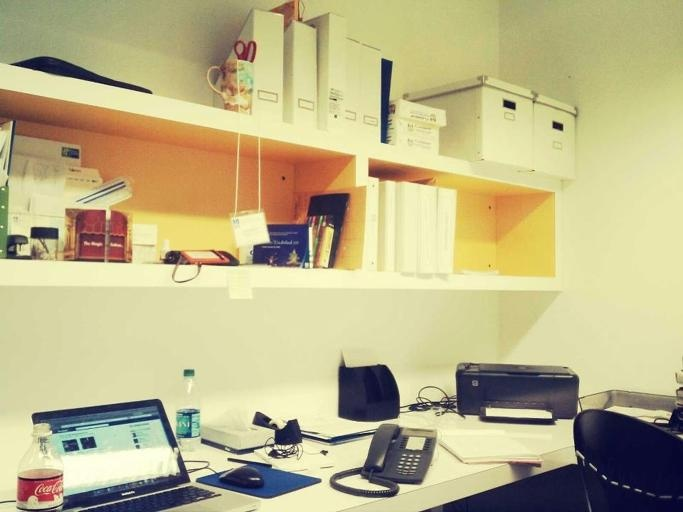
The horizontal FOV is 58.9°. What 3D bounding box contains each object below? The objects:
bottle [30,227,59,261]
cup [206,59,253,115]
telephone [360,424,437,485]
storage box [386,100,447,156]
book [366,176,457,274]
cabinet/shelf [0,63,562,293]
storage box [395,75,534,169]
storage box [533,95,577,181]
[{"bbox_3d":[-0.935,-0.040,1.906,0.082,0.108,0.022,1,0,-29],"label":"bottle"},{"bbox_3d":[-0.414,-0.608,2.238,0.086,0.195,0.205,1,0,-43],"label":"cup"},{"bbox_3d":[0.222,0.698,2.195,0.261,0.098,0.354,-4,8,10],"label":"telephone"},{"bbox_3d":[0.303,-0.554,2.707,0.296,0.203,0.169,0,2,-41],"label":"storage box"},{"bbox_3d":[0.328,-0.114,2.696,0.480,0.481,0.349,2,-2,-39],"label":"book"},{"bbox_3d":[-0.022,-0.201,2.583,2.526,0.816,0.485,1,0,-34],"label":"cabinet/shelf"},{"bbox_3d":[0.641,-0.649,3.119,0.716,0.346,0.727,0,3,-5],"label":"storage box"},{"bbox_3d":[1.067,-0.647,3.167,0.166,0.284,0.296,27,16,19],"label":"storage box"}]
